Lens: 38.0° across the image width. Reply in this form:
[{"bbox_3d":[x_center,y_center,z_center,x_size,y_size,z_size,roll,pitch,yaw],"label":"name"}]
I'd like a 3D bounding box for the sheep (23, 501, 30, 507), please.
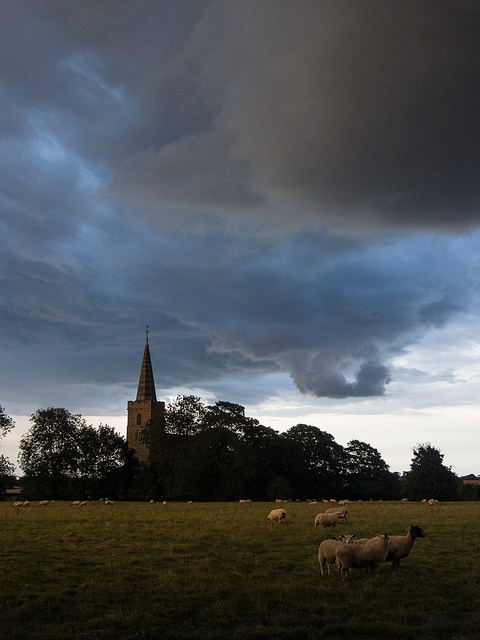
[{"bbox_3d":[-17.944,15.537,58.379,0.422,0.469,2.661,5,-16,-16],"label":"sheep"}]

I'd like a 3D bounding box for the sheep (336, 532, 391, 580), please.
[{"bbox_3d":[4.191,8.021,23.369,2.392,1.293,0.721,3,-20,-25],"label":"sheep"}]

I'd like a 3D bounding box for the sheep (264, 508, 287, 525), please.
[{"bbox_3d":[1.982,10.766,37.968,0.945,0.704,2.115,0,-15,1],"label":"sheep"}]

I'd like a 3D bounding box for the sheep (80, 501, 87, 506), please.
[{"bbox_3d":[-13.855,16.397,61.598,0.220,0.327,0.716,-5,-2,40],"label":"sheep"}]

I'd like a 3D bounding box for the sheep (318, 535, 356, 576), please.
[{"bbox_3d":[3.335,7.973,23.273,0.728,1.260,2.146,8,-19,-22],"label":"sheep"}]
